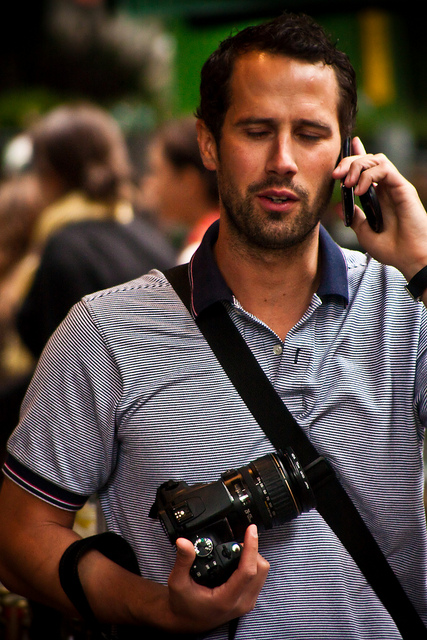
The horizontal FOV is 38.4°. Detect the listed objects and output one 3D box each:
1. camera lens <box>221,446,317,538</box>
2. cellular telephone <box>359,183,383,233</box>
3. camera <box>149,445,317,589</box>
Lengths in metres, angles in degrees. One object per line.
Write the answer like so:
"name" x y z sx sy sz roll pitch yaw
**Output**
"camera lens" 0.112 0.354 1.267 0.215 0.084 0.119 -22 72 -9
"cellular telephone" 0.440 -0.308 1.685 0.032 0.120 0.066 -18 14 -27
"camera" 0.066 0.396 1.296 0.296 0.165 0.252 -33 45 2
